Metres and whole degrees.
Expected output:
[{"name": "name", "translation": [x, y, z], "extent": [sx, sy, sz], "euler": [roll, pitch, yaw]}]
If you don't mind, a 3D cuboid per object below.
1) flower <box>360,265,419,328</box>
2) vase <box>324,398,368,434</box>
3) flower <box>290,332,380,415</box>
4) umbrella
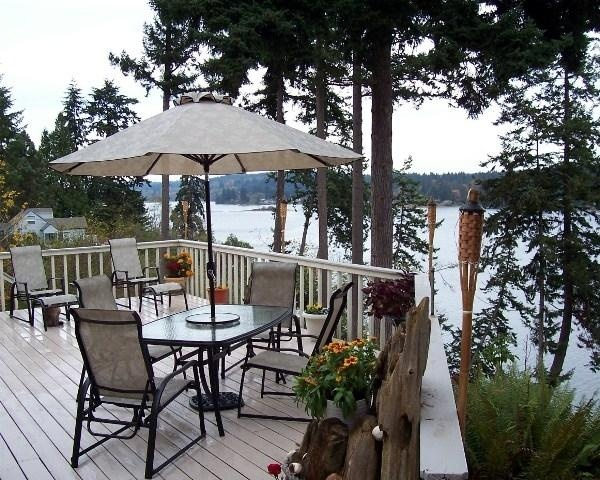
[{"name": "flower", "translation": [0.913, 0.628, 5.910], "extent": [0.519, 0.540, 0.456], "euler": [-1, 2, 16]}, {"name": "vase", "translation": [0.324, 1.194, 3.961], "extent": [0.312, 0.177, 0.111], "euler": [-2, 2, 0]}, {"name": "flower", "translation": [0.232, 1.028, 4.130], "extent": [0.505, 0.414, 0.502], "euler": [-20, 4, -43]}, {"name": "umbrella", "translation": [-0.876, -0.359, 5.579], "extent": [2.546, 2.301, 2.126], "euler": [-1, 2, 25]}]
